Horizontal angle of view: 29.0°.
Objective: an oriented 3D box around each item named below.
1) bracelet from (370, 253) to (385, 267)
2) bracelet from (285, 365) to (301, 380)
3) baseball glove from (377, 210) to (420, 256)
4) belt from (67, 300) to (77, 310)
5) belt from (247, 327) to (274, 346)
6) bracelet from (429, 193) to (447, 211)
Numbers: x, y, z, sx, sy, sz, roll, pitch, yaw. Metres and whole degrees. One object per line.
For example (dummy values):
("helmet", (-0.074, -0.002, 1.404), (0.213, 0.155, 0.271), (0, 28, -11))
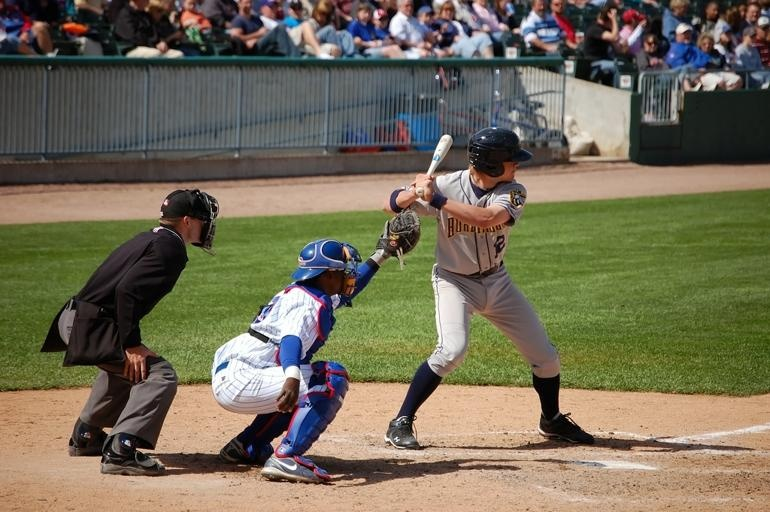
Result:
("bracelet", (-0.094, 0.024, 19.673), (0.152, 0.142, 0.193), (1, 5, -28))
("bracelet", (-1.155, 1.441, 18.662), (0.139, 0.158, 0.172), (18, -3, -39))
("baseball glove", (0.225, -0.339, 19.703), (0.663, 0.292, 0.480), (-28, 44, 15))
("belt", (-4.019, 0.618, 19.029), (0.100, 0.124, 0.049), (0, 3, 9))
("belt", (-1.600, 1.012, 18.945), (0.222, 0.047, 0.202), (24, 0, -23))
("bracelet", (0.693, -0.723, 19.349), (0.232, 0.212, 0.138), (1, 10, 10))
